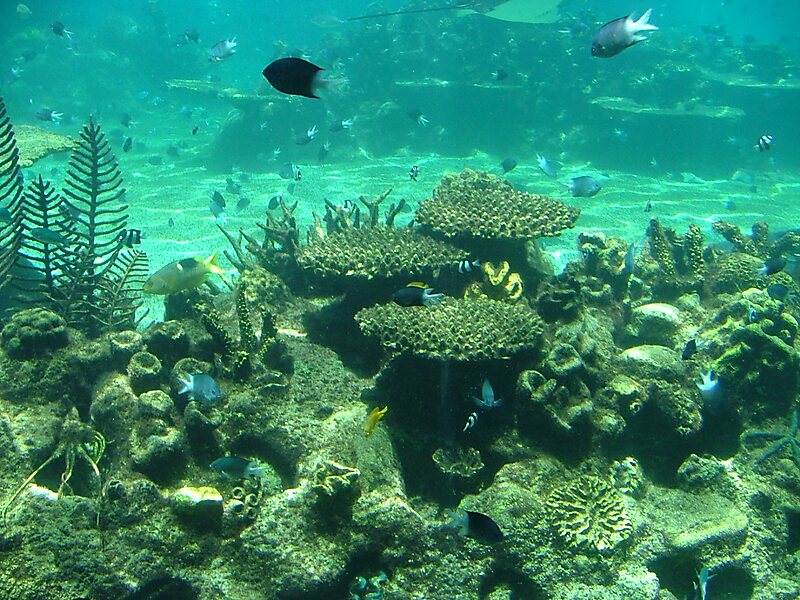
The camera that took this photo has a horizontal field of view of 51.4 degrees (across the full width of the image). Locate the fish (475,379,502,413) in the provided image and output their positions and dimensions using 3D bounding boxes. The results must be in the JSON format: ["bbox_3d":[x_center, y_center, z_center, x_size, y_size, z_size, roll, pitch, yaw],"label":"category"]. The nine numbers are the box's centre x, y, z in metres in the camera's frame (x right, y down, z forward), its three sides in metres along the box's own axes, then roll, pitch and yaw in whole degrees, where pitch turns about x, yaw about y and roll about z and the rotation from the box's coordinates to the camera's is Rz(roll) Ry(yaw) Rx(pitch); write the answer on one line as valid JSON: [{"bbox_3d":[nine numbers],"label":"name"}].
[{"bbox_3d":[2.391,2.637,22.551,0.512,0.399,1.041,1,49,0],"label":"fish"}]

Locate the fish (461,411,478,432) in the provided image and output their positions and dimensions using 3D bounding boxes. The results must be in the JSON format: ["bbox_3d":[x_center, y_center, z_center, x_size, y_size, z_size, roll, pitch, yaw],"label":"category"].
[{"bbox_3d":[1.918,3.317,22.556,0.160,0.547,0.430,28,-1,-37],"label":"fish"}]
